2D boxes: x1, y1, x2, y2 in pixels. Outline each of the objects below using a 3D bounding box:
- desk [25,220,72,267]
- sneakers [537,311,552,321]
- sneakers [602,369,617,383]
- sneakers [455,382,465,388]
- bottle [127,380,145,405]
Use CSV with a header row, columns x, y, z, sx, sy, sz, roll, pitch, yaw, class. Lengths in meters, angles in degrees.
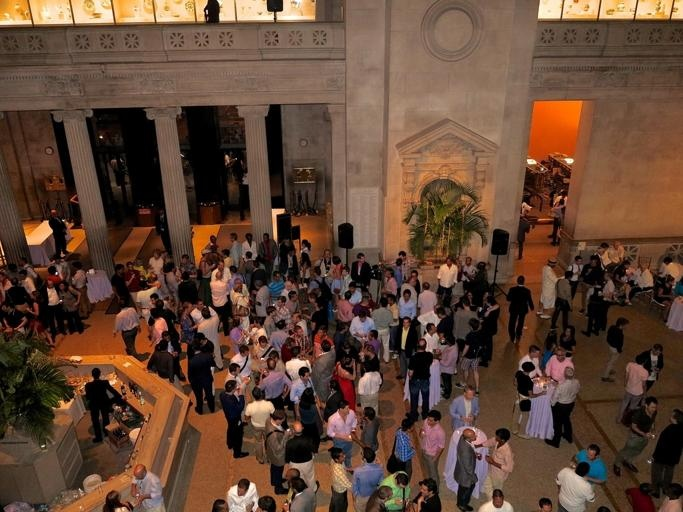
x,y,z,sx,sy,sz,roll,pitch,yaw,class
-11.284,-0.556,18.223,1.124,0.727,1.929,2,43,-9,desk
6.230,1.808,14.768,0.380,0.181,0.187,-5,35,-7,sneakers
6.853,3.059,12.350,0.379,0.281,0.127,-21,39,-23,sneakers
2.974,3.202,12.067,0.235,0.100,0.097,3,38,15,sneakers
-4.827,3.201,11.369,0.129,0.171,0.435,-23,73,-35,bottle
